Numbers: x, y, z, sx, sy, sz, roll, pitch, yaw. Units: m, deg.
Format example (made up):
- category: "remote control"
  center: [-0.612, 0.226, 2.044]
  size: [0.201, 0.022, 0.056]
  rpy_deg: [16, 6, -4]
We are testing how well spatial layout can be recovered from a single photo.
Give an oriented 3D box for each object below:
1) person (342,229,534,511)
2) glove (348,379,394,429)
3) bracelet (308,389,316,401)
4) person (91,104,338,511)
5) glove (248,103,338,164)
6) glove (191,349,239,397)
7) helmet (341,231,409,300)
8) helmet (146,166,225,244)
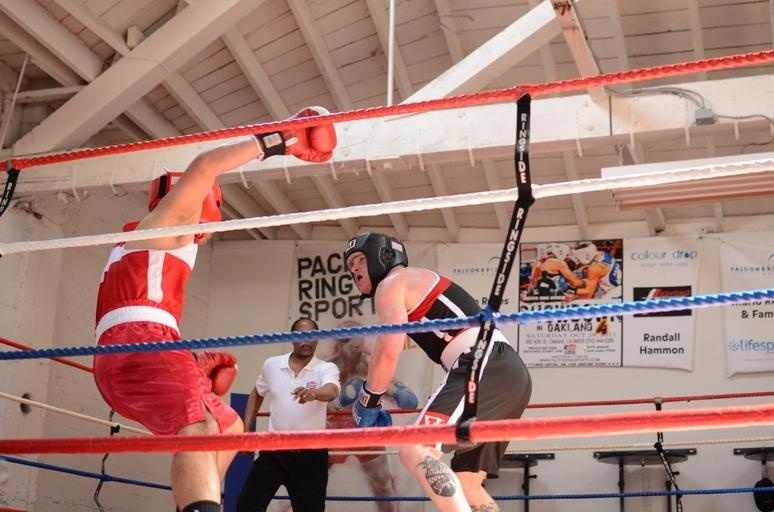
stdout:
- category: "person"
  center: [0.196, 0.547, 3.879]
  size: [0.838, 1.431, 0.657]
  rpy_deg: [-12, -19, 37]
- category: "glove"
  center: [-0.090, 0.800, 4.000]
  size: [0.178, 0.220, 0.255]
  rpy_deg: [10, -5, 27]
- category: "bracelet"
  center: [-0.507, 0.968, 5.409]
  size: [0.071, 0.064, 0.079]
  rpy_deg: [1, -19, -2]
- category: "person"
  center: [-0.845, 0.239, 3.637]
  size: [1.091, 1.872, 0.563]
  rpy_deg: [-5, -16, 17]
- category: "glove"
  center: [-0.471, -0.558, 3.609]
  size: [0.507, 0.179, 0.302]
  rpy_deg: [-9, -28, -39]
- category: "glove"
  center: [-0.829, 0.594, 3.906]
  size: [0.300, 0.161, 0.155]
  rpy_deg: [34, -30, -25]
- category: "helmet"
  center: [-0.104, 0.016, 4.197]
  size: [0.434, 0.304, 0.331]
  rpy_deg: [3, -9, -6]
- category: "helmet"
  center: [-1.031, -0.289, 3.855]
  size: [0.436, 0.305, 0.332]
  rpy_deg: [3, 3, -31]
